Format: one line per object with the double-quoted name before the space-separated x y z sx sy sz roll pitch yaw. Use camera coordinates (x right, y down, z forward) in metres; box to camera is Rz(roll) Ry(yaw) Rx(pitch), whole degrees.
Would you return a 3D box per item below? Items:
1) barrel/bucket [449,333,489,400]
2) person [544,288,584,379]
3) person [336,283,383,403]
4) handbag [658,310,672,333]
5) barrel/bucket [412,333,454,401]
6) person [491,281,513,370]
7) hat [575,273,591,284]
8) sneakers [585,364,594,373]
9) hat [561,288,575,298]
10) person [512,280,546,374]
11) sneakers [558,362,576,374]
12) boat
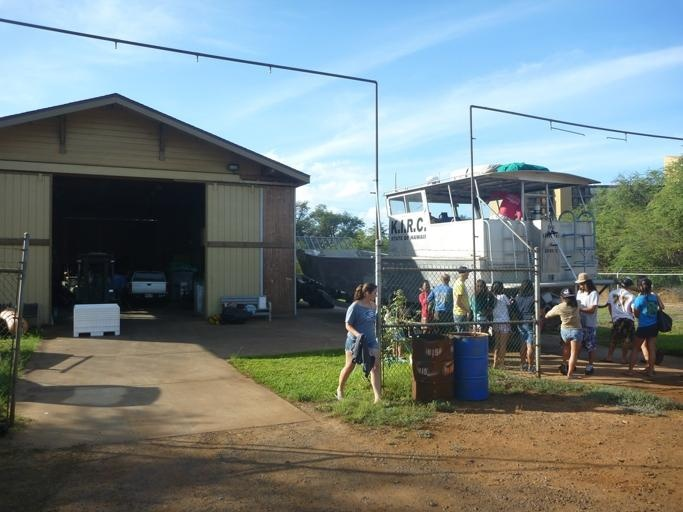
"barrel/bucket" 1.952 1.872 11.126 0.873 1.320 0.905 0 -4 0
"person" 4.298 1.404 12.549 0.591 1.693 0.864 4 10 18
"person" 0.296 1.391 10.758 0.763 1.943 0.775 1 9 3
"handbag" 6.220 1.253 12.597 0.210 0.450 0.470 7 11 34
"barrel/bucket" 1.486 1.816 10.979 0.885 1.255 0.907 -1 2 0
"person" 3.174 1.379 13.046 0.403 1.688 1.444 3 10 15
"hat" 5.019 0.454 13.592 0.202 0.105 0.205 -13 -6 -44
"sneakers" 4.808 2.174 12.730 0.102 0.134 0.307 -4 -11 9
"hat" 4.191 0.685 12.221 0.179 0.131 0.264 3 -7 3
"person" 3.643 1.371 13.048 0.418 1.591 1.682 3 10 13
"sneakers" 4.334 2.138 12.564 0.167 0.207 0.515 -3 -15 10
"boat" 2.375 -0.269 21.353 3.726 3.996 12.115 3 -2 -30
